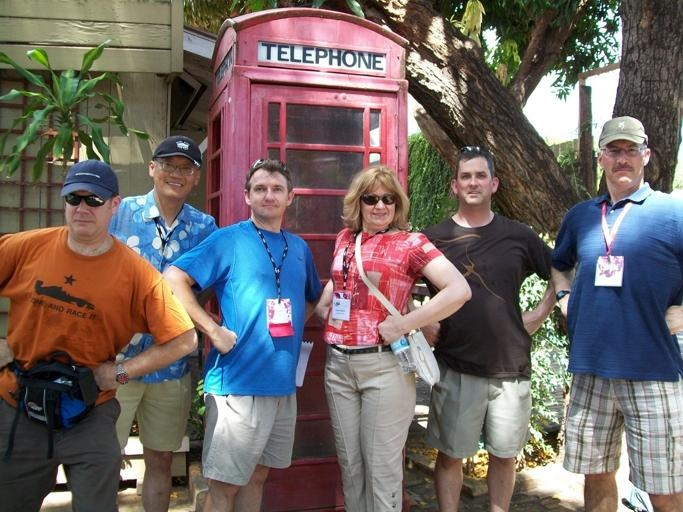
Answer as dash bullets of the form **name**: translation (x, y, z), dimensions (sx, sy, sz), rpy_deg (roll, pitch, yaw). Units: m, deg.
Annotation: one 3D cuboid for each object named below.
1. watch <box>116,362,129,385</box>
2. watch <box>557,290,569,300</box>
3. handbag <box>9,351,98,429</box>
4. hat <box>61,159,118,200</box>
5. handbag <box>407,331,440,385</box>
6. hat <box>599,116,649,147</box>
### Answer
- **watch**: translation (-1.127, 0.601, 3.088), dimensions (0.064, 0.104, 0.097), rpy_deg (-6, 26, -26)
- **watch**: translation (1.409, 0.245, 3.838), dimensions (0.063, 0.025, 0.062), rpy_deg (-47, -13, 26)
- **handbag**: translation (-1.404, 0.649, 3.134), dimensions (0.415, 0.423, 0.304), rpy_deg (2, 15, -7)
- **hat**: translation (-1.299, -0.393, 3.142), dimensions (0.287, 0.229, 0.396), rpy_deg (5, -2, -18)
- **handbag**: translation (0.470, 0.577, 3.510), dimensions (0.101, 0.295, 0.205), rpy_deg (-25, -2, 7)
- **hat**: translation (1.666, -0.729, 3.596), dimensions (0.270, 0.196, 0.386), rpy_deg (0, -2, 22)
